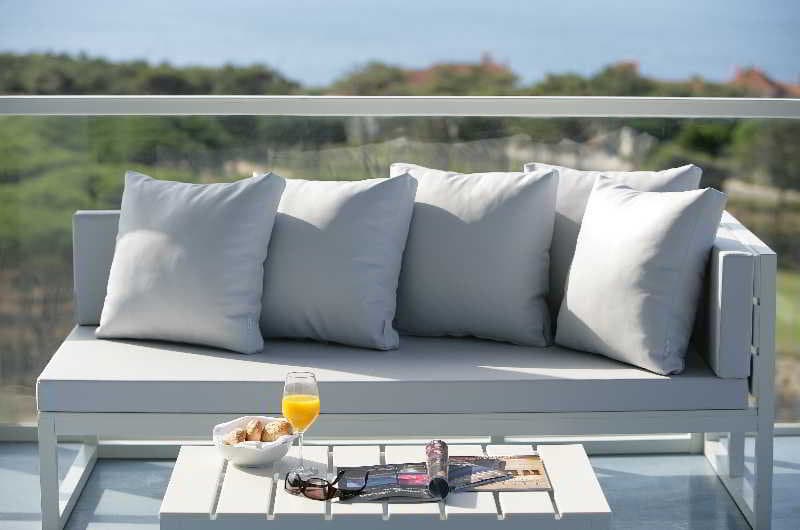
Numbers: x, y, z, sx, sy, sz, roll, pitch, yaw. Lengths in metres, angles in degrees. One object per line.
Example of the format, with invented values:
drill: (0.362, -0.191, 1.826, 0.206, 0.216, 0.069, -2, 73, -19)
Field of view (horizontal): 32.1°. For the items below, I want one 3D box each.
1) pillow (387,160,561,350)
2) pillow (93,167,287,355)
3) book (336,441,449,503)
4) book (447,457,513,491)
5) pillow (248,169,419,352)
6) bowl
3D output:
pillow: (0.423, -0.003, 7.925, 0.926, 0.922, 0.496, 4, 3, 17)
pillow: (-1.166, 0.029, 7.864, 0.893, 0.839, 0.468, 3, 13, 12)
book: (-0.021, 1.089, 7.122, 0.414, 0.130, 0.324, 1, 21, -2)
book: (0.399, 1.079, 7.176, 0.210, 0.078, 0.190, -4, 24, 1)
pillow: (-0.381, 0.017, 7.888, 0.856, 0.767, 0.442, 2, 20, 16)
bowl: (-0.771, 0.935, 7.223, 0.308, 0.136, 0.292, 1, 15, 0)
